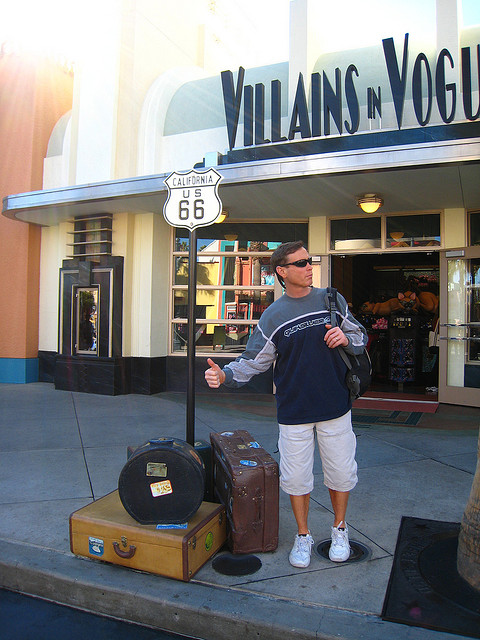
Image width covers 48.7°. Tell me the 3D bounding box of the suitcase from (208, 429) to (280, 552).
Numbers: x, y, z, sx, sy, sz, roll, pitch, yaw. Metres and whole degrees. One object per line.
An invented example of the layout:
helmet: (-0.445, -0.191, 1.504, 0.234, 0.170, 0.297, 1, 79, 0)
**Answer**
suitcase: (0.049, 0.986, 3.113, 0.256, 0.440, 0.673, -1, 2, -6)

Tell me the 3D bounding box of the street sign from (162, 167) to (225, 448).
street sign: (-0.299, -0.095, 3.456, 0.317, 1.766, 0.468, -4, 2, -26)

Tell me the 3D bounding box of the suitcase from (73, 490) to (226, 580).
suitcase: (-0.392, 1.068, 2.716, 0.545, 0.203, 0.429, 3, 8, 28)

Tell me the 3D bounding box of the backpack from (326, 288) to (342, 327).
backpack: (0.492, -0.061, 2.781, 0.075, 0.205, 0.224, -2, 3, 10)

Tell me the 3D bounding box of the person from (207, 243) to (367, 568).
person: (0.305, 0.427, 2.806, 0.734, 1.652, 0.353, -2, 2, 14)

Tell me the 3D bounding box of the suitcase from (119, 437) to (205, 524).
suitcase: (-0.382, 0.777, 2.701, 0.354, 0.355, 0.425, 2, -5, -1)
